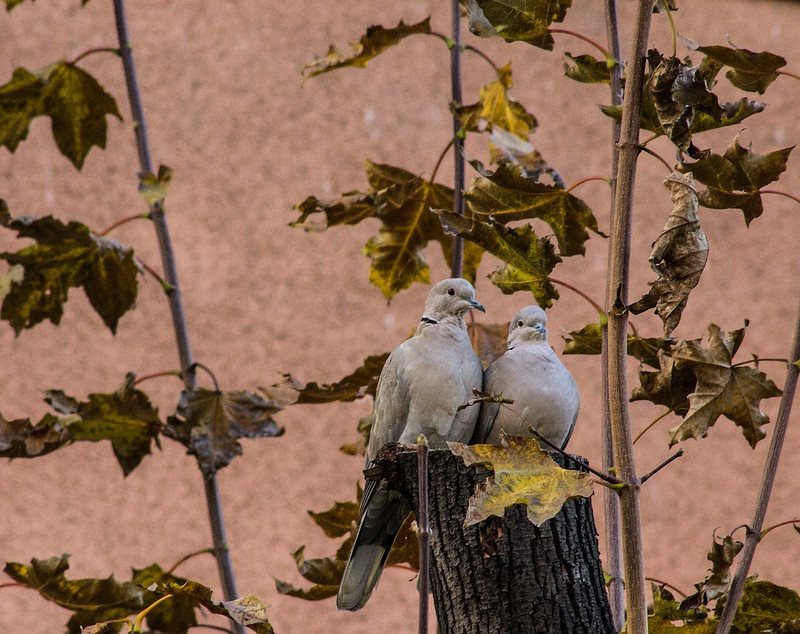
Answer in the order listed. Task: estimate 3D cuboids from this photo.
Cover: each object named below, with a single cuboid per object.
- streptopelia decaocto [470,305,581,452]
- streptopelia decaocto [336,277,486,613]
[{"bbox_3d":[0.304,0.131,5.768,0.219,0.322,0.288,7,-8,-19],"label":"streptopelia decaocto"},{"bbox_3d":[0.028,0.279,5.757,0.272,0.765,0.297,2,-7,14],"label":"streptopelia decaocto"}]
